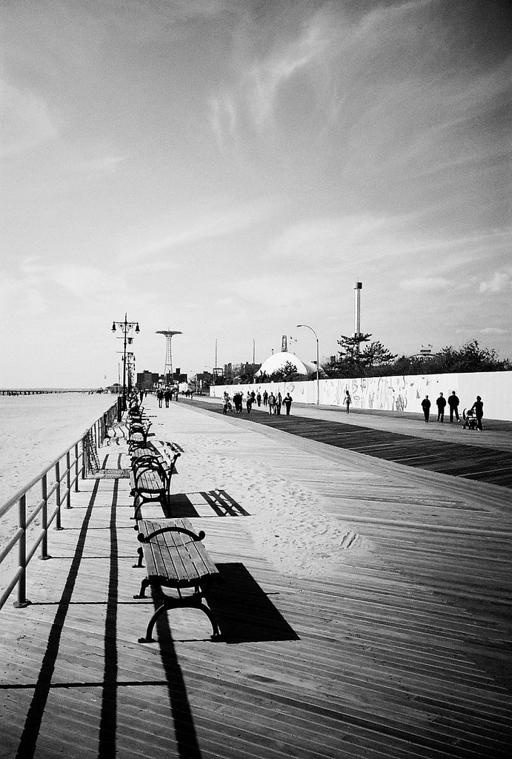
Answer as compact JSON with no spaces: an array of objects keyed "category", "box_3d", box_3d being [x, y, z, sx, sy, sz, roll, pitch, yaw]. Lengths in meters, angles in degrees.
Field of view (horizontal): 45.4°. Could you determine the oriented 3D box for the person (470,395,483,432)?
[{"category":"person","box_3d":[9.173,1.398,25.322,0.313,1.369,1.586,0,0,17]}]
